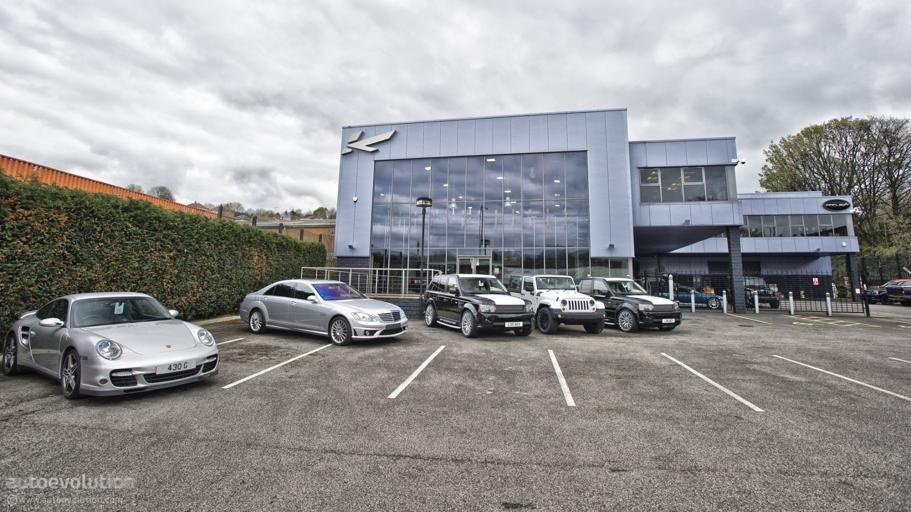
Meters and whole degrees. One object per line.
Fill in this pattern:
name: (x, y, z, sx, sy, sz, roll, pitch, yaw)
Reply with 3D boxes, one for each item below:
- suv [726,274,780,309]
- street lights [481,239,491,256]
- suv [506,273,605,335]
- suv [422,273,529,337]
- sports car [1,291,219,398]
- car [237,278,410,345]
suv: (18.990, 2.349, 28.888, 2.018, 1.696, 3.285, -2, -10, 14)
street lights: (1.877, -0.485, 27.765, 0.713, 0.978, 0.284, 2, 2, 5)
suv: (4.007, 1.825, 18.489, 1.980, 1.577, 3.433, 2, -10, -17)
suv: (0.611, 1.787, 17.377, 1.954, 1.372, 3.683, 2, -5, -28)
sports car: (-8.561, 2.191, 11.494, 5.005, 2.358, 1.791, 2, 2, 18)
car: (-4.605, 1.822, 15.797, 5.546, 1.551, 2.175, -1, -4, 22)
